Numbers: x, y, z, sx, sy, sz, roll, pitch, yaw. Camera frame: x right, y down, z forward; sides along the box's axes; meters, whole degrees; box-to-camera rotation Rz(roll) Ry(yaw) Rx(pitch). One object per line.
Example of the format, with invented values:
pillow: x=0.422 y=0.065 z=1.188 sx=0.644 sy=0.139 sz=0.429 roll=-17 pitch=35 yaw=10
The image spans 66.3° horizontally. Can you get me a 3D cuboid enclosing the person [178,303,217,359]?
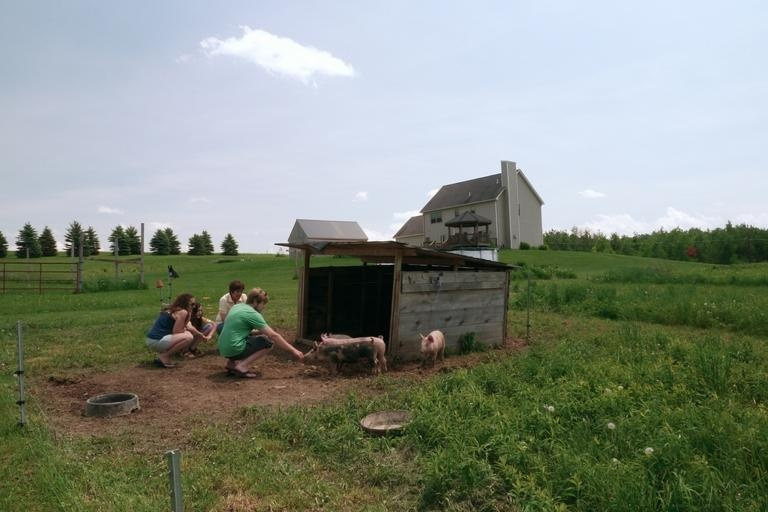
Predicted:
person: x=-5.002 y=1.930 z=15.762 sx=0.784 sy=1.402 sz=0.861 roll=2 pitch=-3 yaw=34

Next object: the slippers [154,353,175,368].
slippers: x=-5.495 y=2.597 z=14.764 sx=0.291 sy=0.276 sz=0.699 roll=3 pitch=-5 yaw=-41

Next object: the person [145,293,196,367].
person: x=-5.397 y=1.837 z=14.989 sx=1.115 sy=1.792 sz=1.070 roll=5 pitch=-1 yaw=-2

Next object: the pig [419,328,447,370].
pig: x=1.260 y=2.340 z=15.062 sx=0.631 sy=0.858 sz=1.155 roll=0 pitch=0 yaw=4
